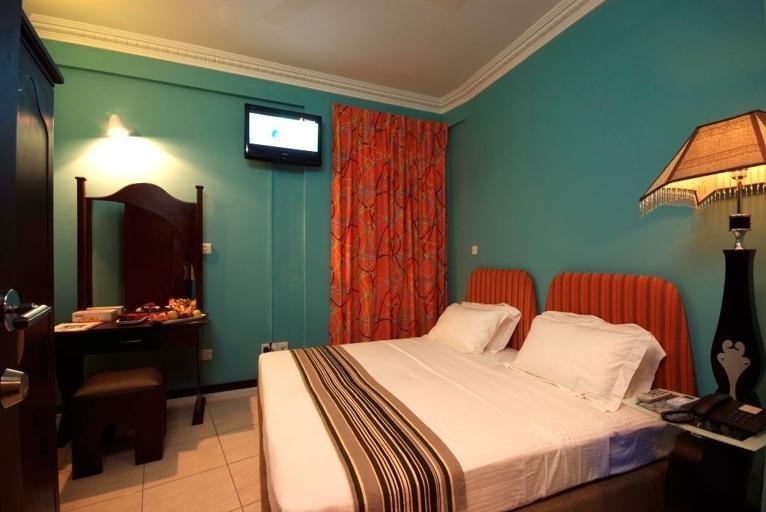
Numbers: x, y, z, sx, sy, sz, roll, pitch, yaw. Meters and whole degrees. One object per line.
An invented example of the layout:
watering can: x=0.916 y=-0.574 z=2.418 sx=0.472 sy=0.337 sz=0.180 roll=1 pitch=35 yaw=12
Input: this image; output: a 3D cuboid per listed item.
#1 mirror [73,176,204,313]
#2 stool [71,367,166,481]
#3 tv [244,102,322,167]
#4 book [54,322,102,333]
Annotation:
mirror: x=-2.300 y=-0.090 z=4.725 sx=1.168 sy=1.495 sz=0.140 roll=-1 pitch=6 yaw=-20
stool: x=-2.098 y=1.315 z=4.186 sx=0.648 sy=0.636 sz=0.675 roll=2 pitch=-4 yaw=-24
tv: x=-1.015 y=-1.177 z=5.102 sx=0.607 sy=0.463 sz=0.067 roll=3 pitch=-4 yaw=-21
book: x=-2.526 y=0.590 z=4.228 sx=0.188 sy=0.048 sz=0.189 roll=3 pitch=-1 yaw=-35
